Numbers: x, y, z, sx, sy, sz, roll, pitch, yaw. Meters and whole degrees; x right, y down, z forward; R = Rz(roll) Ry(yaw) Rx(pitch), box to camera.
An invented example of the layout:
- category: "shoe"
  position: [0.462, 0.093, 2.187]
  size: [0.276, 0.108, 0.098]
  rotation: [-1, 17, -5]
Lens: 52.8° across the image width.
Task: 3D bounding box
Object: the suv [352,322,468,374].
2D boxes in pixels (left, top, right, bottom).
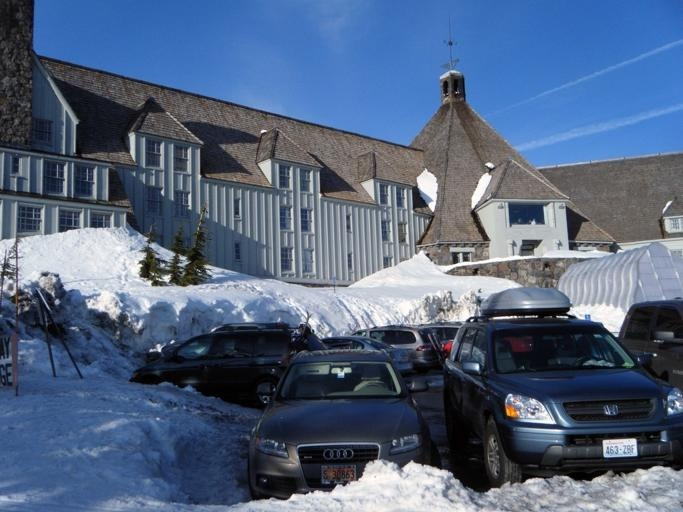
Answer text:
- category: "suv"
  position: [2.180, 3.007, 22.394]
  size: [3.569, 1.013, 1.690]
  rotation: [-2, -6, 36]

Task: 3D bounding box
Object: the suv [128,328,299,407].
- category: "suv"
  position: [-2.959, 2.649, 16.635]
  size: [3.228, 1.321, 1.784]
  rotation: [3, -11, 4]

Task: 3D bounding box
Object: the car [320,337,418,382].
- category: "car"
  position: [0.497, 2.983, 19.467]
  size: [3.016, 0.875, 1.315]
  rotation: [1, -6, 19]

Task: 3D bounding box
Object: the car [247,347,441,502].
- category: "car"
  position: [-0.031, 2.471, 11.633]
  size: [2.578, 1.744, 4.483]
  rotation: [-3, 4, 3]
